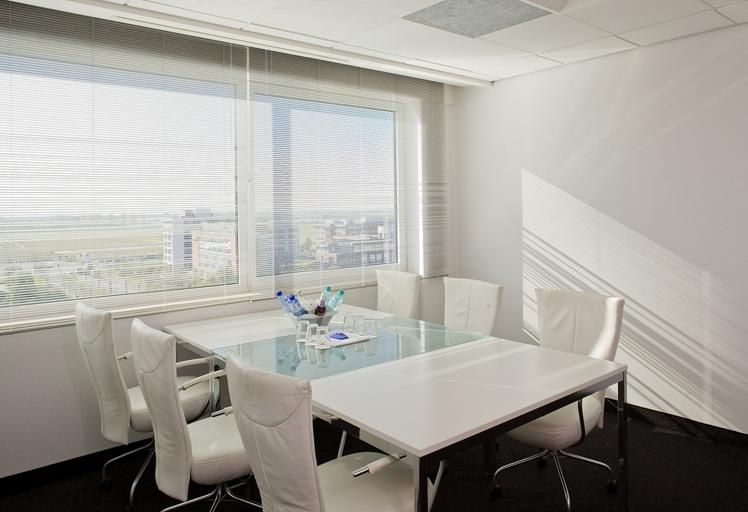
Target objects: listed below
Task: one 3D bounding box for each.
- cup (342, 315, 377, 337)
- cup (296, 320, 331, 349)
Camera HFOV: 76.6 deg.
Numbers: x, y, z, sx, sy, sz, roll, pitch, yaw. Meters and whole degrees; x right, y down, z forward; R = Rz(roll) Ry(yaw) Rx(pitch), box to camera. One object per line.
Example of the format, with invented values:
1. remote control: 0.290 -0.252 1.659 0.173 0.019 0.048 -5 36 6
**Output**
1. cup: -0.145 0.533 3.606 0.145 0.221 0.235 1 -3 -31
2. cup: -0.442 0.573 3.442 0.175 0.077 0.230 1 5 -43
